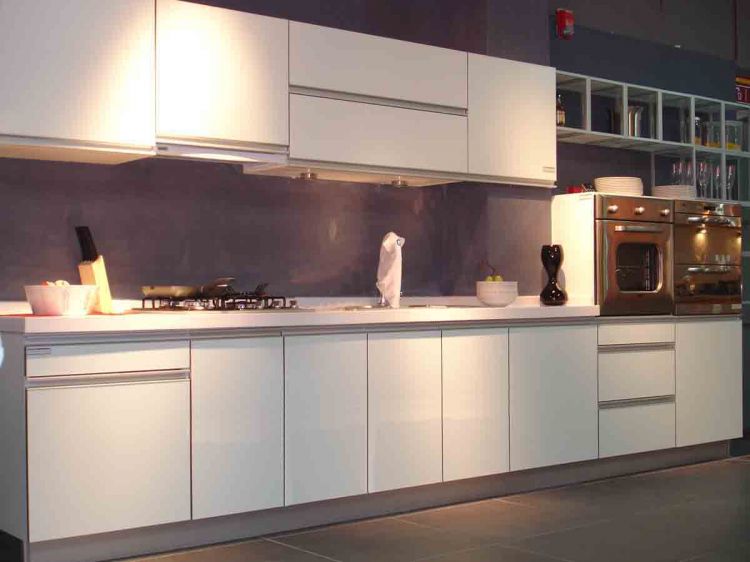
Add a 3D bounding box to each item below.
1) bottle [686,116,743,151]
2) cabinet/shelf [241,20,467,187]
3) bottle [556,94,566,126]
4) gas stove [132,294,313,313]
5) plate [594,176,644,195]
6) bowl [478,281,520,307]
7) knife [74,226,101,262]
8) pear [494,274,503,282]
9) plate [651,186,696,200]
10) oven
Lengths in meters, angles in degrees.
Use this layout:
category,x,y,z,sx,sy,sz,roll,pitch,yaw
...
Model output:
category,x,y,z,sx,sy,sz,roll,pitch,yaw
bottle,2.823,-1.191,5.643,0.329,0.232,0.334,0,2,0
cabinet/shelf,-0.179,-1.123,4.607,0.661,0.851,1.316,2,4,-2
bottle,1.379,-1.272,5.054,0.068,0.303,0.302,0,0,15
gas stove,-0.852,0.114,3.843,0.918,0.078,0.626,0,0,-21
plate,1.746,-0.685,4.911,0.321,0.189,0.450,0,0,18
bowl,0.786,0.075,4.391,0.180,0.113,0.181,1,0,0
knife,-1.523,-0.202,3.616,0.124,0.203,0.267,0,0,-22
pear,0.818,-0.026,4.545,0.051,0.057,0.055,-8,-8,22
plate,2.277,-0.673,5.159,0.182,0.065,0.187,1,-1,-22
oven,1.785,-0.184,4.888,0.616,0.785,0.633,0,0,16
